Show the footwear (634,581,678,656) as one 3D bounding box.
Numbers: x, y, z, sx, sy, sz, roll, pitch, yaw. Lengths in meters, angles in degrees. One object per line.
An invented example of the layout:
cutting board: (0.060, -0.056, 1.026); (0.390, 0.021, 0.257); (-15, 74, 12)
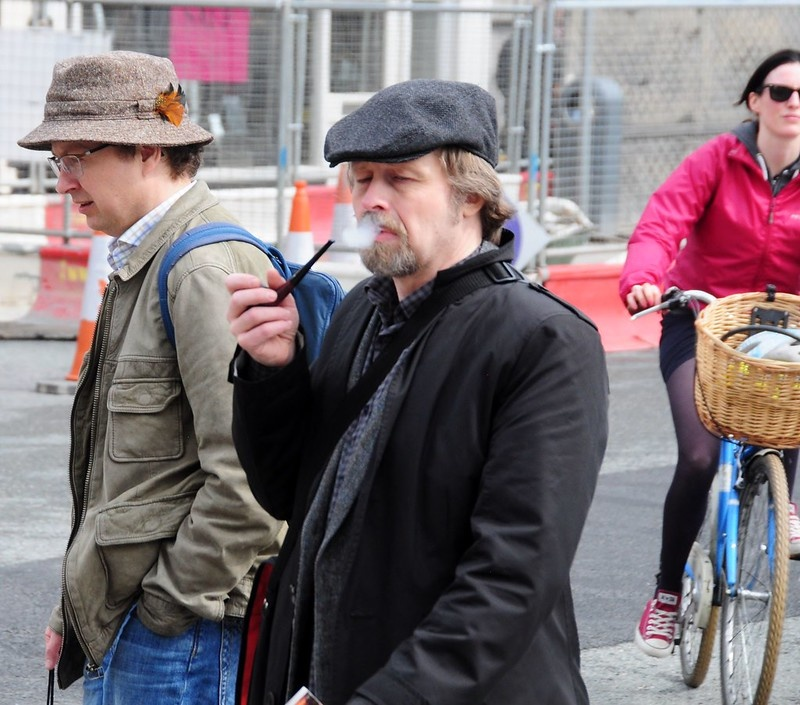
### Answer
footwear: (1.020, 1.095, 6.637); (0.111, 0.132, 0.329); (19, 10, 4)

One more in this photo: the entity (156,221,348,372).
entity: (-0.431, -0.226, 5.097); (0.593, 0.561, 0.373); (-6, 17, -11)

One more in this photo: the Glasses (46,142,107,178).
Glasses: (-1.043, -0.609, 5.321); (0.137, 0.046, 0.130); (-21, 9, -42)

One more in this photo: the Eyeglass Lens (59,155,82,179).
Eyeglass Lens: (-1.049, -0.595, 5.302); (0.070, 0.072, 0.025); (1, 3, 39)

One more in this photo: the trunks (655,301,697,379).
trunks: (1.111, -0.050, 6.723); (0.099, 0.273, 0.147); (9, -5, -35)

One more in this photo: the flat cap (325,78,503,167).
flat cap: (0.036, -0.625, 4.649); (0.351, 0.161, 0.266); (4, -5, -17)
